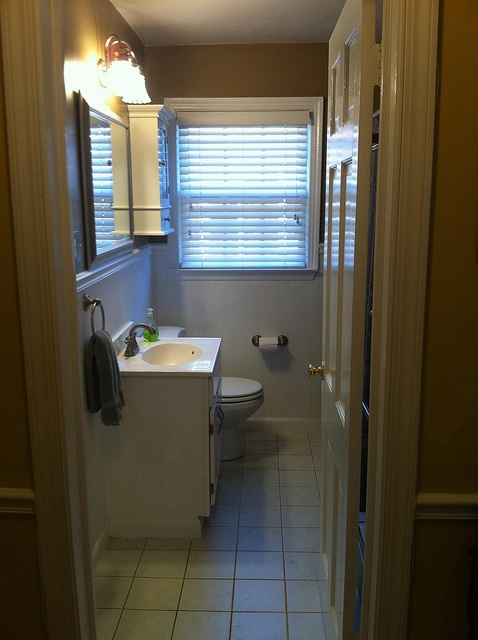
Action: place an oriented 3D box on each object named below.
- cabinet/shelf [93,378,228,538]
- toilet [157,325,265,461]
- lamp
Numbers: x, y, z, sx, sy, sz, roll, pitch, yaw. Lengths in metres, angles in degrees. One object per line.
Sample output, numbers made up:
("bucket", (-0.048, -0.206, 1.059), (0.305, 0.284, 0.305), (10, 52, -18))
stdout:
("cabinet/shelf", (-0.374, 0.411, 2.705), (0.509, 0.976, 0.910), (3, 28, -3))
("toilet", (-0.081, 0.478, 3.381), (0.684, 1.041, 0.553), (1, 12, 8))
("lamp", (-0.525, -1.133, 2.306), (0.268, 0.383, 0.165), (5, -2, -42))
